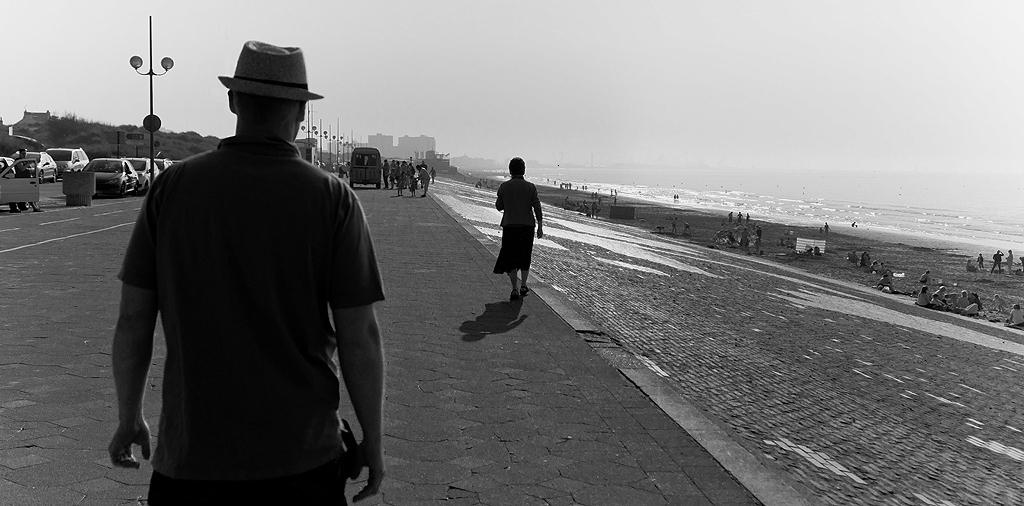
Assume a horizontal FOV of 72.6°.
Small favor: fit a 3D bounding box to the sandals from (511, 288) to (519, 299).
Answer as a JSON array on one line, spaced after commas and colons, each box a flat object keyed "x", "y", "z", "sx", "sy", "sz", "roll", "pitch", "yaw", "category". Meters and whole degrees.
[{"x": 0.046, "y": 0.850, "z": 13.963, "sx": 0.207, "sy": 0.188, "sz": 0.205, "roll": -1, "pitch": -6, "yaw": -1, "category": "sandals"}]

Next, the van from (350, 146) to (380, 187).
[{"x": -13.164, "y": -7.245, "z": 59.521, "sx": 3.545, "sy": 3.140, "sz": 5.897, "roll": 0, "pitch": 16, "yaw": -9, "category": "van"}]
